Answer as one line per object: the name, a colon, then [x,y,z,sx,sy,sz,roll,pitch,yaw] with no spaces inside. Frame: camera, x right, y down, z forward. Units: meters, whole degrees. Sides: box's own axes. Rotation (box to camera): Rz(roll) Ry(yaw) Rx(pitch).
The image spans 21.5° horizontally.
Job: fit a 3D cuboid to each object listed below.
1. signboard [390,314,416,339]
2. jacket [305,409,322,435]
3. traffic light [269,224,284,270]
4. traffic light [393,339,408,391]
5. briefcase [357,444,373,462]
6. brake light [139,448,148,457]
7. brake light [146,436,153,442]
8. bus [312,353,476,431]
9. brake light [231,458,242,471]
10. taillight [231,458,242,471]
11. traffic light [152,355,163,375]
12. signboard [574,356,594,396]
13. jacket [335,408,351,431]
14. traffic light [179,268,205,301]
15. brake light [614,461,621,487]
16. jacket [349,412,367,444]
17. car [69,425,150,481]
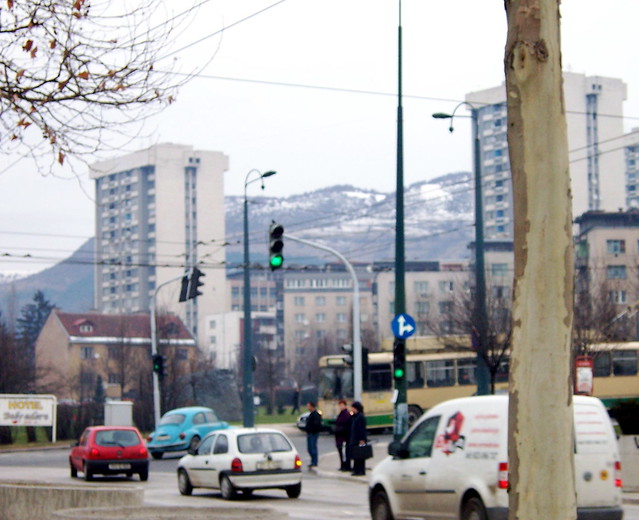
signboard: [2.681,2.174,54.879,0.715,0.814,0.732,-2,-6,2]
jacket: [-0.203,5.741,58.369,0.551,1.133,1.090,2,-5,-4]
traffic light: [-1.443,-0.494,55.511,0.450,1.421,1.475,-2,-6,-2]
traffic light: [2.595,3.476,54.977,0.383,1.723,0.526,-1,-6,-3]
briefcase: [1.468,6.352,54.903,0.430,0.409,0.696,-2,-7,4]
brake light: [-6.012,6.683,57.701,0.214,0.254,0.239,-4,-7,31]
brake light: [-6.531,7.009,64.885,0.128,0.204,0.192,1,-1,1]
bus: [3.471,5.689,73.331,3.255,3.498,9.587,-4,-4,39]
brake light: [-2.592,6.541,52.953,0.336,0.538,0.054,2,-13,-10]
taillight: [-2.592,6.541,52.953,0.333,0.539,0.065,1,-10,-9]
traffic light: [-6.687,4.395,69.894,0.369,0.782,0.479,-1,-6,-5]
signboard: [8.648,3.888,55.427,0.608,1.371,0.127,0,-26,12]
jacket: [0.818,5.518,57.834,0.522,1.105,1.028,2,-9,-3]
traffic light: [-5.071,0.997,67.373,0.657,1.122,2.193,0,-7,-17]
brake light: [8.256,6.078,47.140,0.080,0.726,0.286,-6,-7,40]
jacket: [1.316,5.753,56.586,0.707,1.392,1.285,1,-1,-7]
car: [-7.448,6.851,59.366,2.275,2.004,4.373,0,-3,-16]
